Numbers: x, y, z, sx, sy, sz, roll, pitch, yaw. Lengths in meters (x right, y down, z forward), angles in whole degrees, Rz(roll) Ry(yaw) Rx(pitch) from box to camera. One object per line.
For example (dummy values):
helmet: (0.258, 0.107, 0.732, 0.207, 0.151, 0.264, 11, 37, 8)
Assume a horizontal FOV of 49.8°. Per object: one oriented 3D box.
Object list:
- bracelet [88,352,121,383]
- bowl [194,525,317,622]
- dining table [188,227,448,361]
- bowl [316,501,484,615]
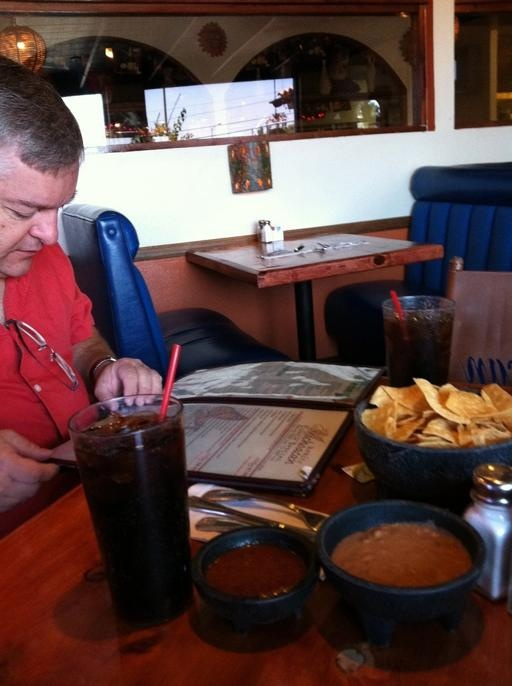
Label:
bracelet: (-0.364, 0.063, 1.312, 0.019, 0.067, 0.072, 36, 60, 23)
bowl: (0.001, 0.202, 0.479, 0.096, 0.032, 0.091, -1, 16, 0)
dining table: (0.282, -0.393, 2.604, 0.892, 0.752, 0.828, -9, 14, -8)
bowl: (0.120, 0.183, 0.467, 0.134, 0.047, 0.130, -4, 16, 1)
